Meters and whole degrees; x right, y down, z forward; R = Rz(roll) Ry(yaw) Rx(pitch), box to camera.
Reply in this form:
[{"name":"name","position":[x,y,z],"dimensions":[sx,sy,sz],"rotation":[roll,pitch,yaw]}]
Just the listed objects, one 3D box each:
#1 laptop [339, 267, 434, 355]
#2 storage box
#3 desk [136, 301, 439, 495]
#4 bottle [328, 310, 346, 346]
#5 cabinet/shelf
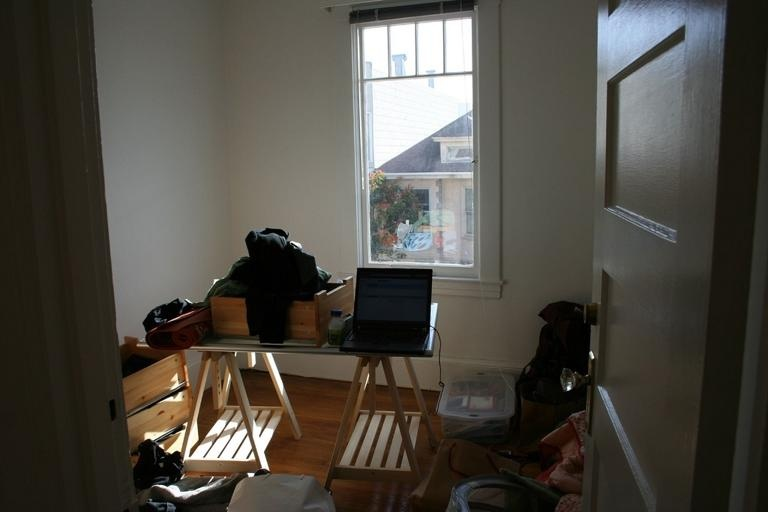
[{"name":"laptop","position":[0.010,0.264,2.801],"dimensions":[0.414,0.329,0.389],"rotation":[1,14,15]},{"name":"storage box","position":[0.592,0.927,3.604],"dimensions":[0.457,0.219,0.591],"rotation":[2,10,13]},{"name":"desk","position":[-0.439,0.780,3.296],"dimensions":[1.470,0.769,0.850],"rotation":[1,7,7]},{"name":"bottle","position":[-0.234,0.349,2.873],"dimensions":[0.083,0.167,0.154],"rotation":[-1,10,-1]},{"name":"cabinet/shelf","position":[-1.256,0.795,3.212],"dimensions":[0.347,0.625,0.471],"rotation":[-5,11,-26]}]
